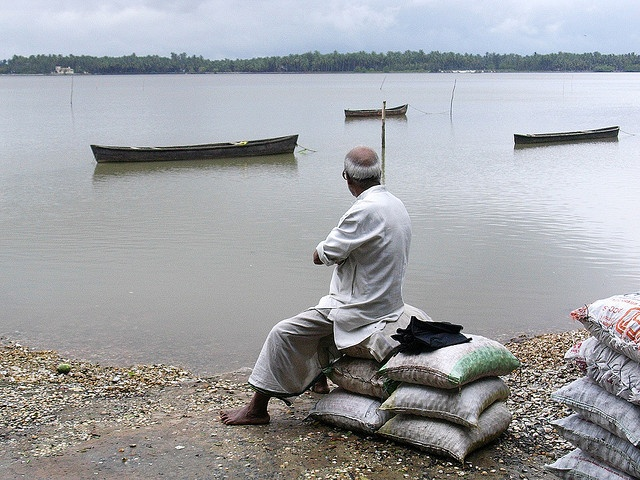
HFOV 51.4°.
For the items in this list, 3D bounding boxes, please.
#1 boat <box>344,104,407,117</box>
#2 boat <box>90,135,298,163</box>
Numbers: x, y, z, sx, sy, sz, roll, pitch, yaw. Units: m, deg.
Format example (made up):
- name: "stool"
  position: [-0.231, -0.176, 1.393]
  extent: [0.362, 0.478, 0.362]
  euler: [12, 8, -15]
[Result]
- name: "boat"
  position: [5.048, -11.448, 58.848]
  extent: [4.805, 0.985, 5.881]
  euler: [2, 14, 10]
- name: "boat"
  position: [-6.490, -4.839, 34.919]
  extent: [10.915, 1.343, 1.795]
  euler: [-7, 32, -15]
